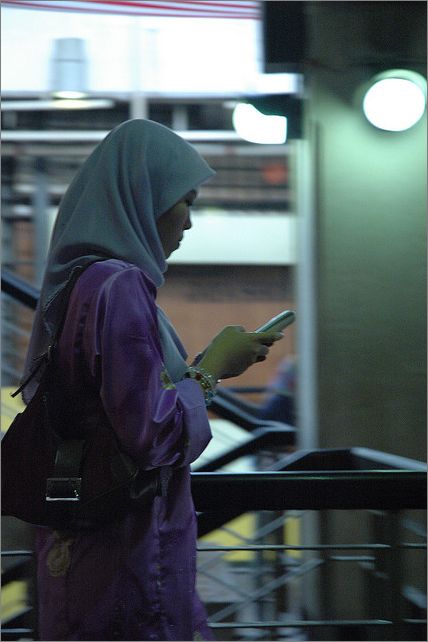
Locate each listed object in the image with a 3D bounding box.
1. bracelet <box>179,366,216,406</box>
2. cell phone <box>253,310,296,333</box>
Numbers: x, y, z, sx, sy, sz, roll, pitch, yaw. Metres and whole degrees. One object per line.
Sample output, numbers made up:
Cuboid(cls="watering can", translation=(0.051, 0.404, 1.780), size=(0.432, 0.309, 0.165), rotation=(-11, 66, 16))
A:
Cuboid(cls="bracelet", translation=(-0.025, 0.132, 2.419), size=(0.039, 0.081, 0.063), rotation=(-48, -3, 22))
Cuboid(cls="cell phone", translation=(0.192, -0.001, 3.665), size=(0.159, 0.041, 0.039), rotation=(-28, 51, -19))
